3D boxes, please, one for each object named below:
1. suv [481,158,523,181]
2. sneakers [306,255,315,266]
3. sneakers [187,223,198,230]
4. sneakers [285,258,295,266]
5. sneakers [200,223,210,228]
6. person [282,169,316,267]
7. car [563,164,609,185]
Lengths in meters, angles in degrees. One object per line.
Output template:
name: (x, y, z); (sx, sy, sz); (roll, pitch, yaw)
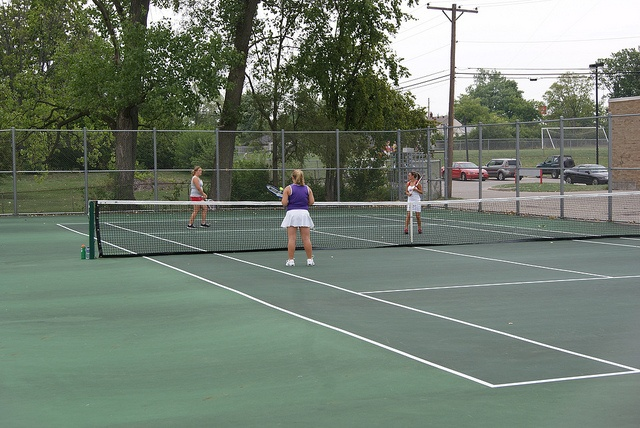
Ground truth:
suv: (16.155, -4.098, 60.847); (1.891, 2.186, 3.578); (0, -1, 2)
sneakers: (-0.234, 1.171, 16.712); (0.107, 0.186, 0.281); (1, 4, 9)
sneakers: (-4.599, 0.442, 24.335); (0.323, 0.132, 0.115); (0, 7, -16)
sneakers: (-0.737, 1.179, 16.685); (0.185, 0.179, 0.419); (2, 2, -9)
sneakers: (-4.184, 0.403, 24.614); (0.329, 0.141, 0.108); (-1, 3, 1)
person: (-0.529, 0.060, 16.790); (0.799, 2.429, 1.223); (0, -1, -2)
car: (18.570, -2.731, 47.114); (1.440, 0.989, 3.059); (-1, -1, -23)
